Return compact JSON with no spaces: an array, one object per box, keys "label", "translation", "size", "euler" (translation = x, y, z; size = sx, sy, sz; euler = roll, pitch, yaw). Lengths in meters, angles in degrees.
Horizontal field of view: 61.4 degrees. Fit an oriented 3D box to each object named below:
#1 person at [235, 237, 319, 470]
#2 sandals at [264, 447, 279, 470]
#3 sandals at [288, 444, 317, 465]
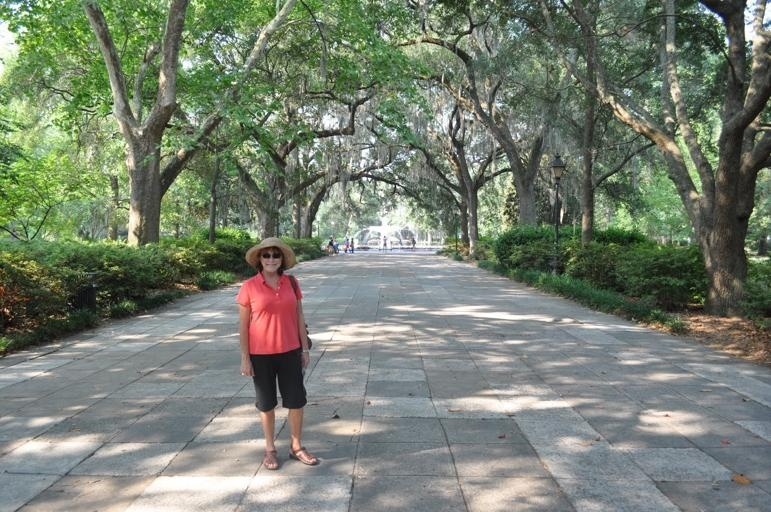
[{"label":"person","translation":[-1.519,1.346,8.955],"size":[0.928,3.080,0.849],"euler":[-2,12,-11]},{"label":"sandals","translation":[-1.579,2.797,8.932],"size":[0.208,0.260,0.272],"euler":[-2,12,-11]},{"label":"sandals","translation":[-1.144,2.803,9.032],"size":[0.379,0.153,0.200],"euler":[9,7,27]}]
